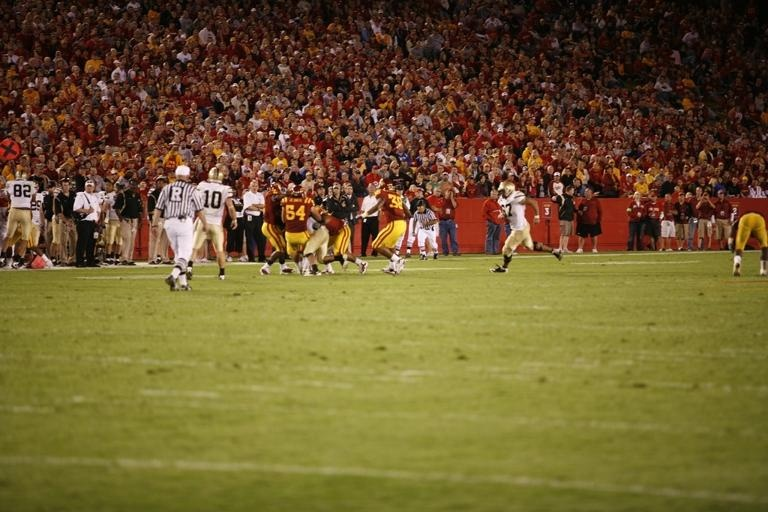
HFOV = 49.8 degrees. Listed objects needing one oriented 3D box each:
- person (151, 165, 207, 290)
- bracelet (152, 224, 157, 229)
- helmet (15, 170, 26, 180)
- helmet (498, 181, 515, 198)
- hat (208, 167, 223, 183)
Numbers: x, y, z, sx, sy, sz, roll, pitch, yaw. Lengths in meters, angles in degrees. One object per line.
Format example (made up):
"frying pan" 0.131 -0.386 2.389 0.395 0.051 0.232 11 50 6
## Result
"person" -4.206 -0.536 17.074 0.830 2.558 0.734 -4 12 -21
"bracelet" -6.805 -0.846 24.525 0.152 0.148 0.139 2 -1 22
"helmet" -9.785 -2.152 22.246 0.265 0.284 0.353 -4 -2 -26
"helmet" 3.188 -1.708 21.707 0.415 0.310 0.365 -17 -23 41
"hat" -4.026 -1.883 19.428 0.393 0.376 0.386 3 -8 -4
